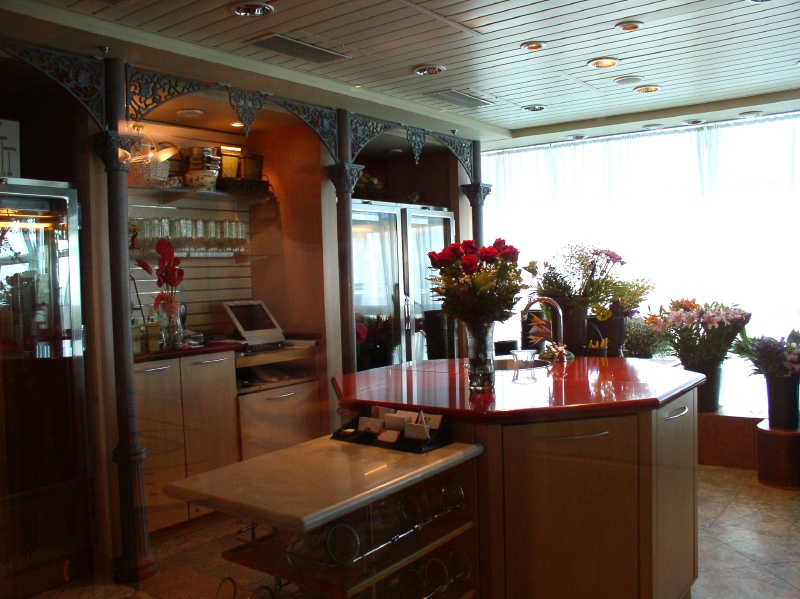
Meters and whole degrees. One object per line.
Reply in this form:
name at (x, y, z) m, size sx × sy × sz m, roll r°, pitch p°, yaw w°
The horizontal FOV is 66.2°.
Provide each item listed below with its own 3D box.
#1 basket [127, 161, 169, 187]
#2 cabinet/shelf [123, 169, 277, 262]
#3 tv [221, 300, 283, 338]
basket at (-1.882, -0.947, 4.583) m, size 0.241 × 0.127 × 0.236 m, roll -1°, pitch 2°, yaw -45°
cabinet/shelf at (-1.664, -0.700, 5.189) m, size 0.327 × 0.740 × 1.357 m, roll 0°, pitch 3°, yaw 29°
tv at (-1.316, 0.165, 5.514) m, size 0.355 × 0.387 × 0.602 m, roll 2°, pitch -3°, yaw 32°
